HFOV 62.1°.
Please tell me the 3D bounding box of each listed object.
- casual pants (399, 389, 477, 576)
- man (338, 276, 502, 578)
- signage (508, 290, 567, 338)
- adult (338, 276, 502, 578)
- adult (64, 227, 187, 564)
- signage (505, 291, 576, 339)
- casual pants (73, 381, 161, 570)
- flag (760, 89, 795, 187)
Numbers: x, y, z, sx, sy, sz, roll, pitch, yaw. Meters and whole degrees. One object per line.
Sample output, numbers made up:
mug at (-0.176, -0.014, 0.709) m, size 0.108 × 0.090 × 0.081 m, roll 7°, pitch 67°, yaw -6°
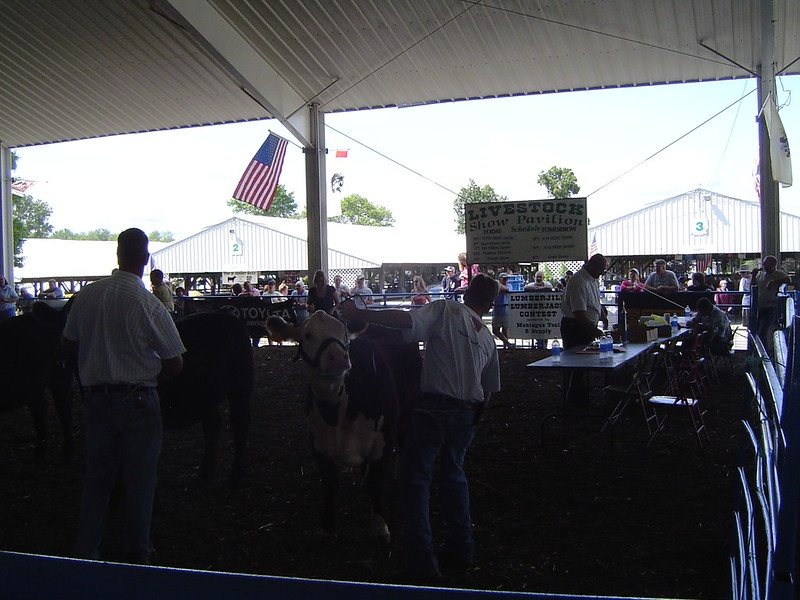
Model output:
casual pants at (0.230, 1.086, 3.991) m, size 0.465 × 1.004 × 0.416 m, roll 0°, pitch 1°, yaw -3°
man at (0.124, 0.931, 4.377) m, size 1.254 × 2.252 × 0.449 m, roll 10°, pitch -27°, yaw -16°
signage at (1.785, 0.189, 8.679) m, size 0.543 × 0.534 × 0.065 m, roll 1°, pitch 1°, yaw 11°
adult at (0.124, 0.931, 4.377) m, size 1.254 × 2.252 × 0.449 m, roll 10°, pitch -27°, yaw -16°
adult at (-1.719, 0.609, 4.201) m, size 0.638 × 2.110 × 0.608 m, roll 4°, pitch 3°, yaw 10°
signage at (1.810, 0.188, 8.540) m, size 0.561 × 0.554 × 0.049 m, roll 1°, pitch 1°, yaw 8°
casual pants at (-1.689, 1.014, 3.958) m, size 0.432 × 1.020 × 0.249 m, roll 0°, pitch 1°, yaw 2°
flag at (6.150, -2.664, 10.890) m, size 0.417 × 1.648 × 0.771 m, roll 1°, pitch 2°, yaw 29°
